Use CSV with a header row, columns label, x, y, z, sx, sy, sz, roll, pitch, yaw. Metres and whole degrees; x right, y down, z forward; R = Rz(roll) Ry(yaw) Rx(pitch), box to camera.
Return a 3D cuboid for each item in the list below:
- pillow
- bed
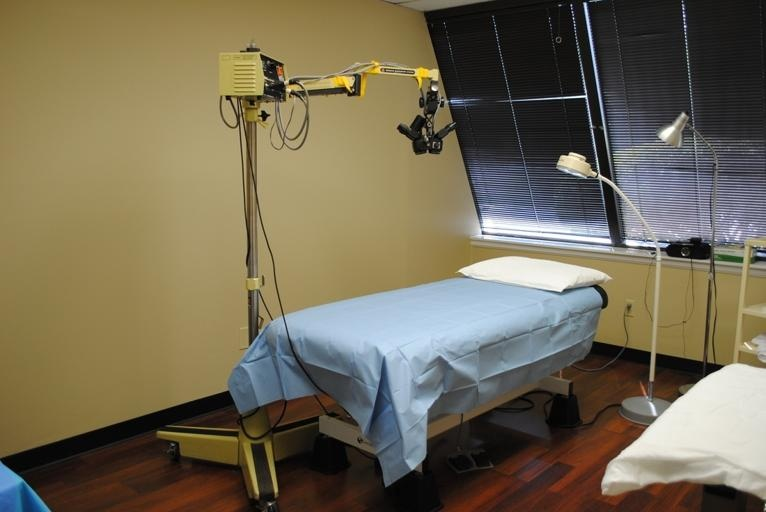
label,x,y,z,sx,sy,sz,roll,pitch,yaw
pillow,0.958,0.112,3.854,0.624,0.113,0.417,4,8,43
bed,0.478,0.552,3.309,1.764,0.481,1.048,-7,7,-42
